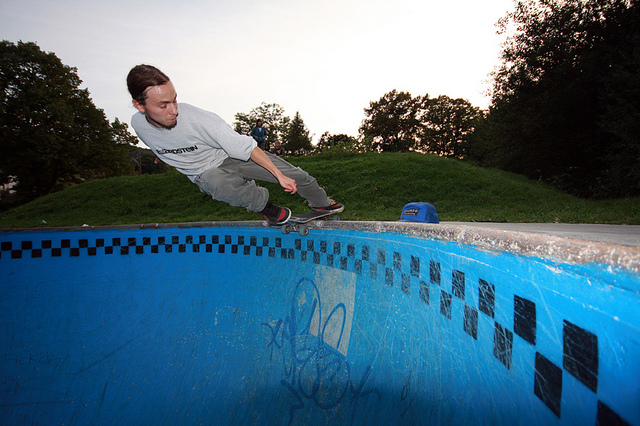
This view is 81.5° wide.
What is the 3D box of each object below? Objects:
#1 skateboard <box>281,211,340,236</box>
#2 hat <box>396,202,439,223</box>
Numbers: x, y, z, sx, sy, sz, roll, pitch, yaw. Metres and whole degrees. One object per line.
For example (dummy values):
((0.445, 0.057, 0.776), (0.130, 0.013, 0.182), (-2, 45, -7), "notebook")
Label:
((-0.137, 0.087, 4.619), (0.293, 0.139, 0.563), (8, 28, 41), "skateboard")
((1.338, 0.015, 5.072), (0.481, 0.242, 0.381), (1, -1, 42), "hat")
